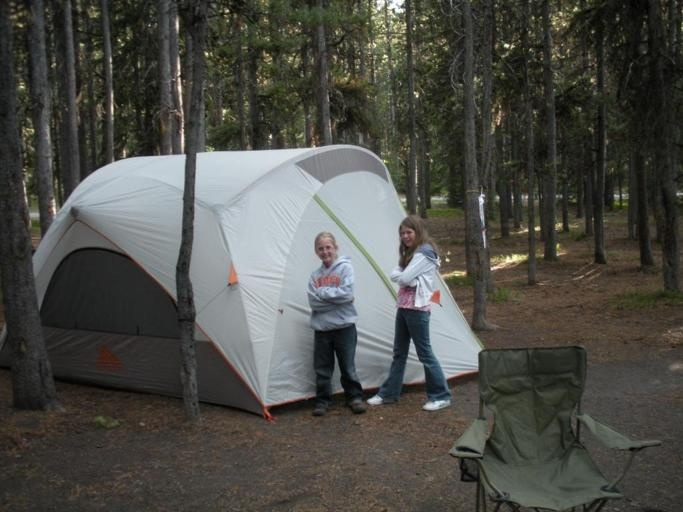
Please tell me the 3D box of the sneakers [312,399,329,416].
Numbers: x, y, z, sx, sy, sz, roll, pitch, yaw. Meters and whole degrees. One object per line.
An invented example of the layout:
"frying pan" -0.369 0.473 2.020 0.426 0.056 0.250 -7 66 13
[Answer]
"sneakers" -0.300 2.198 10.576 0.199 0.184 0.293 -2 6 14

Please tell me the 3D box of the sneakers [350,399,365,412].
"sneakers" 0.237 2.184 10.617 0.225 0.173 0.238 -4 6 -4

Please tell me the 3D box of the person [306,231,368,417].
"person" -0.100 0.970 10.688 0.751 2.612 0.637 -3 6 -2

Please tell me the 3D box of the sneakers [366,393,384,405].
"sneakers" 0.511 2.137 10.841 0.230 0.128 0.129 0 1 6

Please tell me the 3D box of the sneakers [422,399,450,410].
"sneakers" 1.390 2.165 10.564 0.312 0.154 0.157 1 -3 -14
